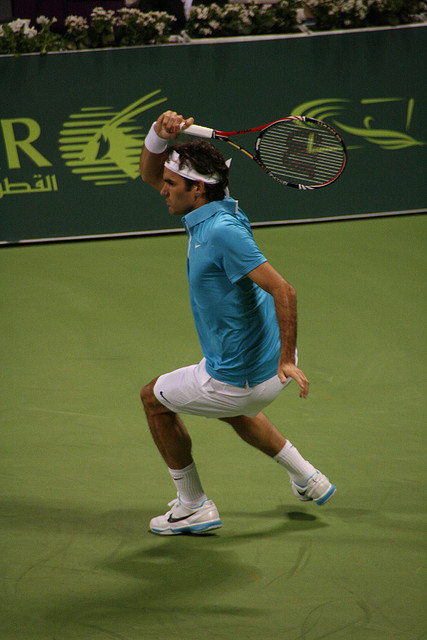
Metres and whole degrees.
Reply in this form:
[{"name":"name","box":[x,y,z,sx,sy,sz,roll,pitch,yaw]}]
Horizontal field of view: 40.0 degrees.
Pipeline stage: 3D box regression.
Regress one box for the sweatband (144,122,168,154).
[{"name":"sweatband","box":[-0.267,-0.881,2.884,0.142,0.140,0.128,-10,56,-8]}]

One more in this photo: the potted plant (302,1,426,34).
[{"name":"potted plant","box":[2.000,-4.042,7.850,1.628,0.416,0.219,-2,15,-3]}]

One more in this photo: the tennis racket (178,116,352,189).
[{"name":"tennis racket","box":[0.261,-1.534,5.007,1.866,0.545,0.144,20,33,30]}]

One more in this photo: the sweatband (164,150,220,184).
[{"name":"sweatband","box":[-0.085,-0.617,2.381,0.218,0.136,0.073,-2,15,-1]}]
